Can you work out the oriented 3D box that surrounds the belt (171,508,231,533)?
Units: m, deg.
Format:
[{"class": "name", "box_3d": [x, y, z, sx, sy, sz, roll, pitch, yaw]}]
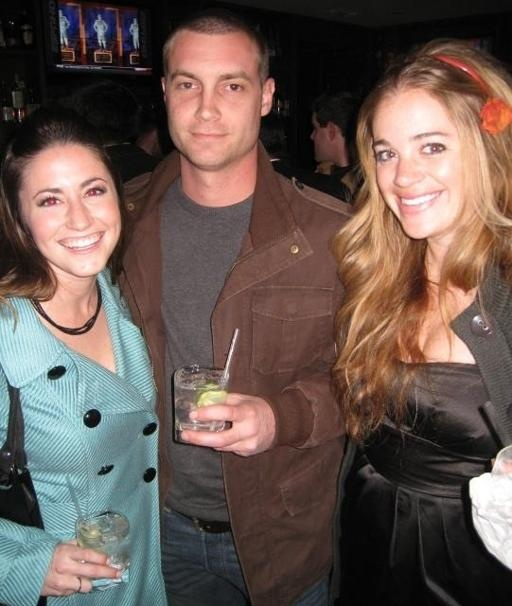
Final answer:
[{"class": "belt", "box_3d": [-0.171, 0.747, 1.869, 0.120, 0.029, 0.085, 15, 0, -1]}]

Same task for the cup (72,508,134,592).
[{"class": "cup", "box_3d": [-0.399, 0.659, 1.454, 0.128, 0.203, 0.126, -2, 18, 1]}]
